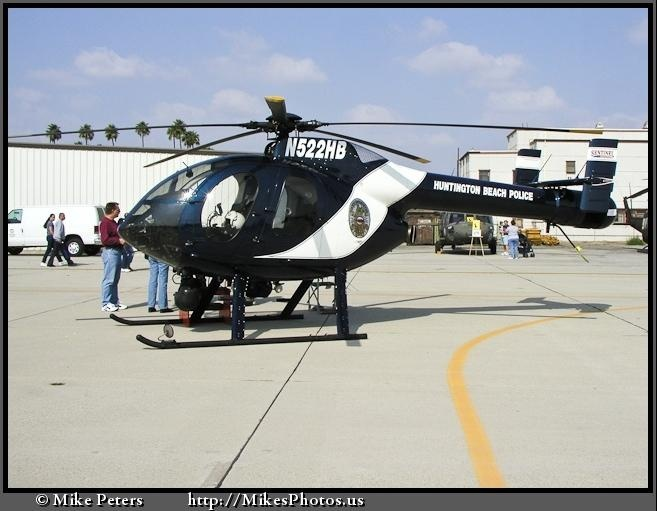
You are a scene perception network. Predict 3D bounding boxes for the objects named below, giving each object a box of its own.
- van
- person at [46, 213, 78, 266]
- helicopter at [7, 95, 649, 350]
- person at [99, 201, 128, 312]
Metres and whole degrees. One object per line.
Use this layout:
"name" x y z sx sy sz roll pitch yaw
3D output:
"van" -12.836 -1.161 29.124 4.537 1.851 2.610 2 4 9
"person" -10.232 -0.560 23.019 1.356 2.466 0.858 0 1 8
"helicopter" 0.034 -0.662 14.639 11.651 2.992 16.526 2 3 -14
"person" -4.175 -0.012 11.970 0.689 2.036 0.764 -1 -1 -10
